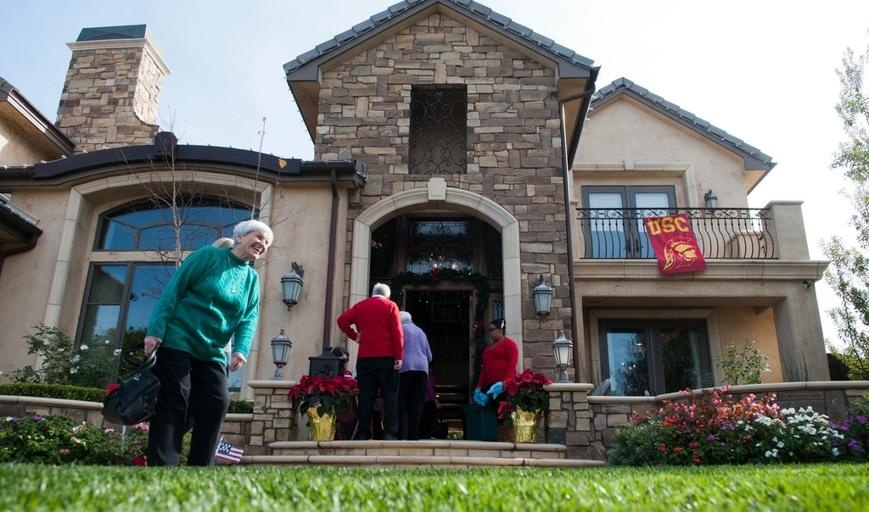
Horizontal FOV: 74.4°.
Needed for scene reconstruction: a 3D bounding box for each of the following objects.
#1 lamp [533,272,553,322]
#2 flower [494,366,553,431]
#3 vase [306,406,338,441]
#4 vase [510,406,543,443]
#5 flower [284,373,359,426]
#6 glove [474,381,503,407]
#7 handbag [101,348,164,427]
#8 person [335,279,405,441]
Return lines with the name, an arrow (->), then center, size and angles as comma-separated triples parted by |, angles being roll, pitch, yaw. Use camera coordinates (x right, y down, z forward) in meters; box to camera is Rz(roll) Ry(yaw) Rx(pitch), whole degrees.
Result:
lamp -> 2.246, 0.825, 11.914 | 0.456, 0.920, 0.371 | 0, -18, 2
flower -> 1.672, 2.613, 10.763 | 0.903, 0.984, 1.018 | 1, -8, 2
vase -> -1.970, 2.940, 10.070 | 0.570, 0.435, 0.551 | 9, -24, -26
vase -> 1.590, 3.042, 10.450 | 0.663, 0.542, 0.597 | 2, -25, -1
flower -> -1.883, 2.474, 10.322 | 0.996, 0.570, 0.962 | 2, -5, 10
glove -> 0.999, 2.544, 10.545 | 0.496, 0.158, 0.379 | -30, -9, 10
handbag -> -3.410, 1.487, 6.459 | 0.581, 0.756, 0.251 | -5, -19, 19
person -> -1.093, 1.777, 9.855 | 1.074, 2.648, 0.989 | 1, -18, 1
